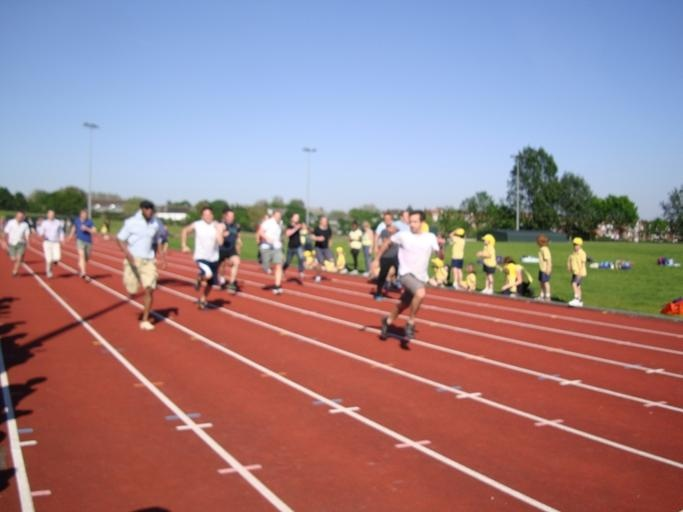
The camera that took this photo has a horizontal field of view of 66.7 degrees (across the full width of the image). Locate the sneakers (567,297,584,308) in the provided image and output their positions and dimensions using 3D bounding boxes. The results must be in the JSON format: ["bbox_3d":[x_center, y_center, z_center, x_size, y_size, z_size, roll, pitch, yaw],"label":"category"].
[{"bbox_3d":[5.899,1.164,13.122,0.185,0.189,0.405,-4,7,-9],"label":"sneakers"}]

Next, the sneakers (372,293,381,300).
[{"bbox_3d":[0.951,1.056,13.890,0.169,0.246,0.534,0,-2,-10],"label":"sneakers"}]

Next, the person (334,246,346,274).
[{"bbox_3d":[-0.093,0.156,23.421,0.586,1.352,0.621,15,21,40],"label":"person"}]

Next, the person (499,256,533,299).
[{"bbox_3d":[5.227,0.629,15.371,0.739,1.170,1.440,5,7,39],"label":"person"}]

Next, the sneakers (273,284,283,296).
[{"bbox_3d":[-1.747,0.904,14.182,0.231,0.155,0.318,3,-6,-21],"label":"sneakers"}]

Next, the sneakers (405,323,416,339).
[{"bbox_3d":[1.167,1.246,8.870,0.126,0.218,0.170,1,5,-1],"label":"sneakers"}]

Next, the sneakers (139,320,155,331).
[{"bbox_3d":[-3.787,1.331,10.054,0.173,0.145,0.321,-5,6,-39],"label":"sneakers"}]

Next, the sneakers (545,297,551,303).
[{"bbox_3d":[5.591,1.194,13.997,0.142,0.156,0.150,-6,10,-20],"label":"sneakers"}]

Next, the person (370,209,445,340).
[{"bbox_3d":[1.190,0.356,9.037,0.672,2.277,1.376,5,-3,-28],"label":"person"}]
